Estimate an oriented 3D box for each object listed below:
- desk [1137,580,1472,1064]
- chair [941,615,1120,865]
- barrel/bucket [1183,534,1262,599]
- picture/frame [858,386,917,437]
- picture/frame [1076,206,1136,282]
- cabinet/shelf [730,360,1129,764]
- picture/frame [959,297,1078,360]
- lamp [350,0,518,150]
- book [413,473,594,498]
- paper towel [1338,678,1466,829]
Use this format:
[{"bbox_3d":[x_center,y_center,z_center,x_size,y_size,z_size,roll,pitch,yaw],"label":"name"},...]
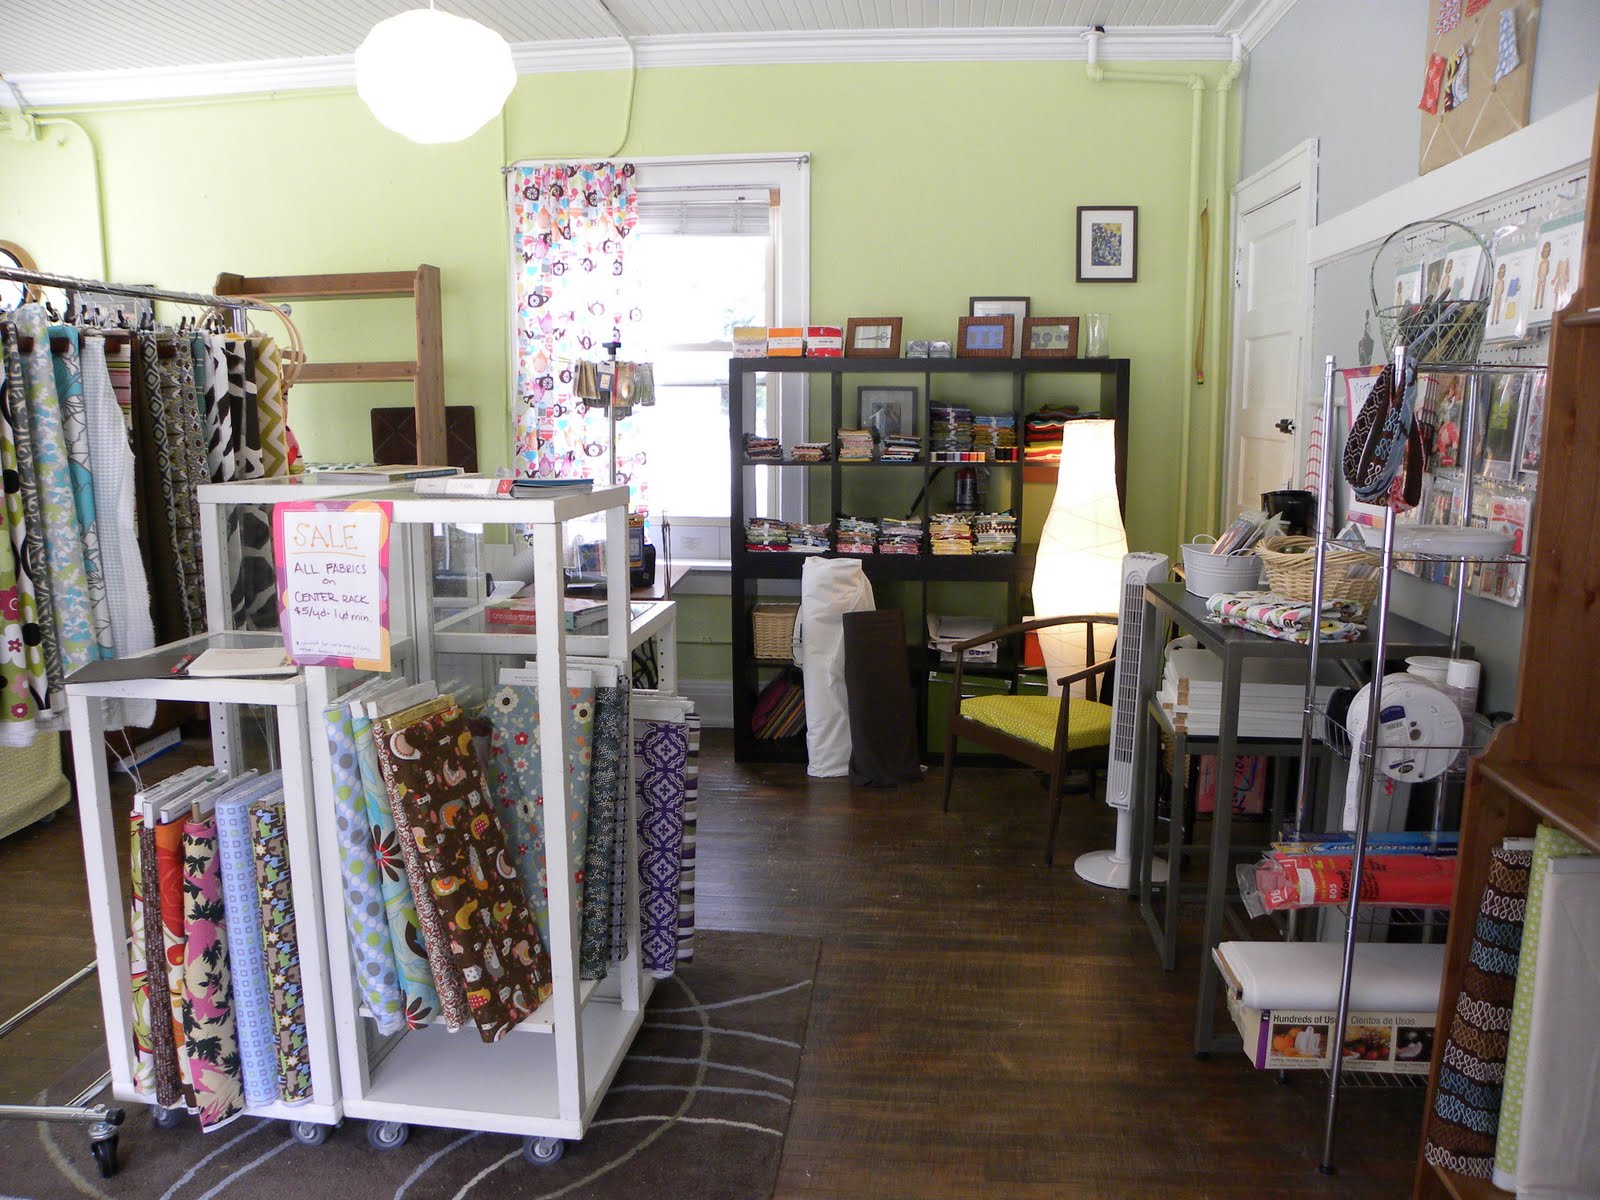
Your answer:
[{"bbox_3d":[1.399,0.596,3.505,0.444,1.035,1.173,1,9,10],"label":"desk"},{"bbox_3d":[0.909,0.457,5.113,0.677,0.834,1.076,1,12,13],"label":"chair"},{"bbox_3d":[1.313,-0.113,3.984,0.157,0.134,0.193,-1,7,-17],"label":"barrel/bucket"},{"bbox_3d":[0.402,-0.880,5.962,0.257,0.262,0.018,1,-2,-5],"label":"picture/frame"},{"bbox_3d":[1.425,-1.667,5.920,0.319,0.390,0.027,1,3,0],"label":"picture/frame"},{"bbox_3d":[0.594,-0.163,5.581,1.680,1.666,0.451,0,11,2],"label":"cabinet/shelf"},{"bbox_3d":[1.003,-1.248,5.803,0.532,0.291,0.465,1,12,12],"label":"picture/frame"},{"bbox_3d":[-1.126,-1.623,3.942,0.457,0.361,0.218,-5,12,-14],"label":"lamp"},{"bbox_3d":[-0.746,-0.291,3.224,0.437,0.045,0.263,-5,12,-17],"label":"book"},{"bbox_3d":[1.590,0.414,3.356,0.298,0.441,0.301,-4,8,33],"label":"paper towel"}]
